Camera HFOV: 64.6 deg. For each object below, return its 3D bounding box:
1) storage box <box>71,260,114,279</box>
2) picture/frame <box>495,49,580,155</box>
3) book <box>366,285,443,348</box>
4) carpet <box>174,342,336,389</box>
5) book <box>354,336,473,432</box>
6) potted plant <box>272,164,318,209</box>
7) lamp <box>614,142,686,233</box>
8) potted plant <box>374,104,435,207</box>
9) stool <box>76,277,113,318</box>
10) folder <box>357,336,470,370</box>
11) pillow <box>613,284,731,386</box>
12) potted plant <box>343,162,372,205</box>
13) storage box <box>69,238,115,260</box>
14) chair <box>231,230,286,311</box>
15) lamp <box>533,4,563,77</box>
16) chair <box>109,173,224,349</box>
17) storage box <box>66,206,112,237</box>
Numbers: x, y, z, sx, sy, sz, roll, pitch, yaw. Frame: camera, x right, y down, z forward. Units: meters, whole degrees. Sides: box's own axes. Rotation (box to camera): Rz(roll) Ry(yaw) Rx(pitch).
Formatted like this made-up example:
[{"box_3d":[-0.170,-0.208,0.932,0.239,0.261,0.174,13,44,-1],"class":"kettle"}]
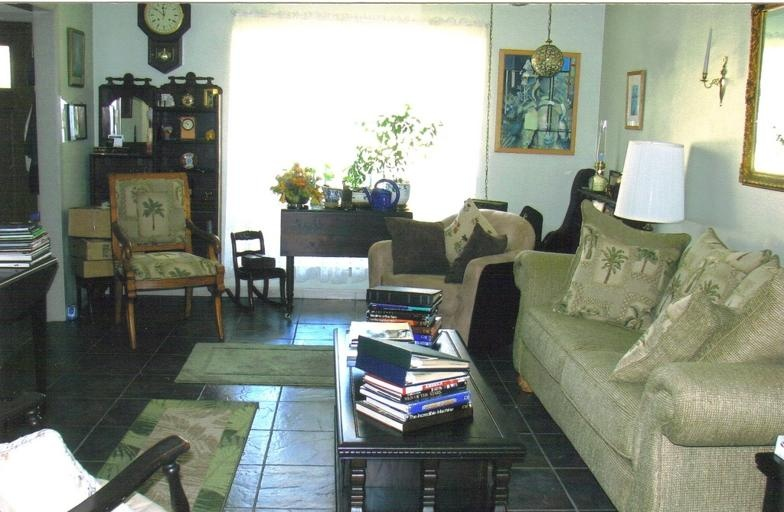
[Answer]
[{"box_3d":[-2.612,0.078,5.475,0.243,0.141,0.249,4,4,44],"class":"storage box"},{"box_3d":[1.424,-1.579,6.179,1.112,1.210,0.046,1,7,0],"class":"picture/frame"},{"box_3d":[0.069,0.356,3.716,0.390,0.223,0.350,1,8,10],"class":"book"},{"box_3d":[-0.991,0.803,4.685,1.098,0.090,0.732,-1,13,-3],"class":"carpet"},{"box_3d":[0.117,0.598,2.962,0.543,0.346,0.434,-1,8,-36],"class":"book"},{"box_3d":[-0.929,-0.657,5.821,0.434,0.294,0.417,-1,11,-32],"class":"potted plant"},{"box_3d":[1.830,-0.488,4.365,0.553,0.543,0.534,8,3,18],"class":"lamp"},{"box_3d":[0.121,-0.989,6.016,0.626,0.929,0.639,0,16,4],"class":"potted plant"},{"box_3d":[-2.671,0.377,5.582,0.315,0.272,0.215,5,20,6],"class":"stool"},{"box_3d":[0.045,0.461,2.951,0.265,0.063,0.257,11,0,-34],"class":"folder"},{"box_3d":[1.490,0.440,3.275,0.205,0.661,0.397,27,20,-53],"class":"pillow"},{"box_3d":[-0.342,-0.698,5.896,0.238,0.380,0.323,-2,15,-4],"class":"potted plant"},{"box_3d":[-2.621,-0.065,5.472,0.231,0.141,0.315,6,4,41],"class":"storage box"},{"box_3d":[-1.282,0.130,6.009,0.482,0.743,0.771,-4,15,-13],"class":"chair"},{"box_3d":[1.468,-2.051,5.845,0.255,0.704,0.845,3,15,14],"class":"lamp"},{"box_3d":[-1.885,-0.016,5.195,0.883,1.314,0.981,-7,17,-23],"class":"chair"},{"box_3d":[-2.632,-0.288,5.444,0.319,0.181,0.298,1,4,-10],"class":"storage box"}]
